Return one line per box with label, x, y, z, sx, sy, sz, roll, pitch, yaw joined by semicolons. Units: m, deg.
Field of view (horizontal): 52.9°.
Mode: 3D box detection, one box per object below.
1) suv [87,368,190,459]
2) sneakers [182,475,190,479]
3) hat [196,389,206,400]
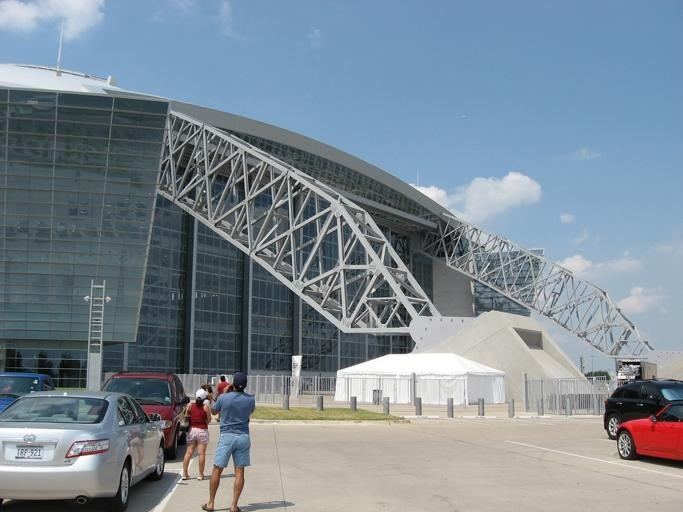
suv;-4.669;3.487;16.371;1.543;1.312;3.129;-2;-16;2
sneakers;-3.163;4.480;13.976;0.161;0.100;0.266;1;-13;-13
hat;-2.924;2.873;14.339;0.168;0.140;0.267;1;5;-3
